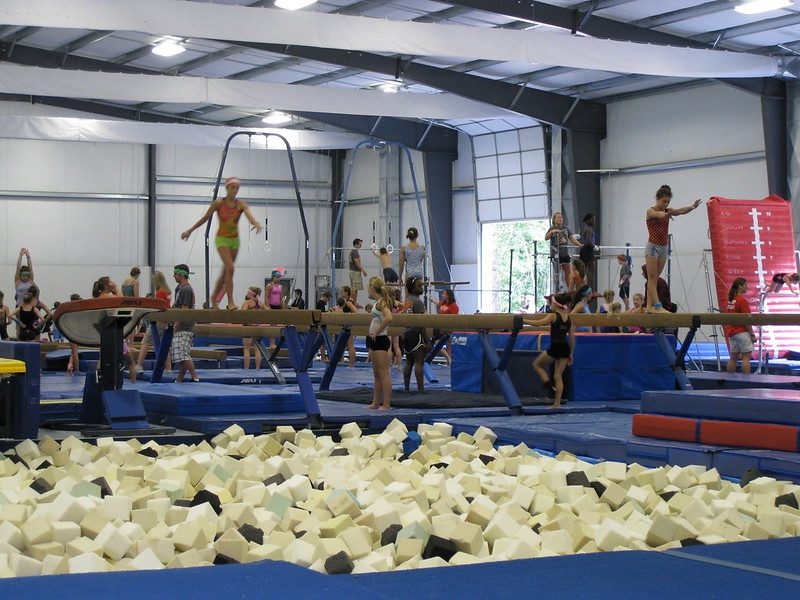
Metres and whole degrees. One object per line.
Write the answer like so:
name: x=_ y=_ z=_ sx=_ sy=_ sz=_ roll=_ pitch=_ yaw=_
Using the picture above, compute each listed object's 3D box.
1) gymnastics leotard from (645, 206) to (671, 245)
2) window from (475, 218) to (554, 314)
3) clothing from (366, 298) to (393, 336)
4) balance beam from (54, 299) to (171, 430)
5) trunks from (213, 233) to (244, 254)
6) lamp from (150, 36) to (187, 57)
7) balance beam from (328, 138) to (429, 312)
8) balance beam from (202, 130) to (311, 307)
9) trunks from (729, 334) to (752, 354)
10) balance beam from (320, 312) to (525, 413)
gymnastics leotard: x=2.483 y=-0.694 z=8.086 sx=0.299 sy=0.455 sz=0.243 roll=-2 pitch=-1 yaw=5
window: x=2.251 y=-0.887 z=18.002 sx=2.040 sy=2.389 sz=1.656 roll=2 pitch=-4 yaw=-38
clothing: x=-0.160 y=0.152 z=7.052 sx=0.203 sy=0.303 sz=0.242 roll=0 pitch=4 yaw=15
balance beam: x=-2.179 y=0.480 z=6.362 sx=0.762 sy=0.988 sz=0.796 roll=0 pitch=-1 yaw=-9
trunks: x=-1.512 y=-0.500 z=7.376 sx=0.188 sy=0.127 sz=0.106 roll=8 pitch=-28 yaw=-22
lamp: x=-4.119 y=-4.587 z=15.136 sx=0.553 sy=0.164 sz=1.088 roll=-4 pitch=5 yaw=-29
balance beam: x=-0.374 y=-2.173 z=17.606 sx=1.954 sy=3.391 sz=0.120 roll=-2 pitch=-41 yaw=-5
balance beam: x=-2.745 y=-1.524 z=16.300 sx=2.141 sy=3.773 sz=0.147 roll=1 pitch=-16 yaw=-15
trunks: x=3.799 y=0.480 z=9.325 sx=0.176 sy=0.285 sz=0.324 roll=-3 pitch=-12 yaw=11
balance beam: x=0.105 y=0.539 z=7.789 sx=2.394 sy=0.882 sz=0.263 roll=0 pitch=5 yaw=39
